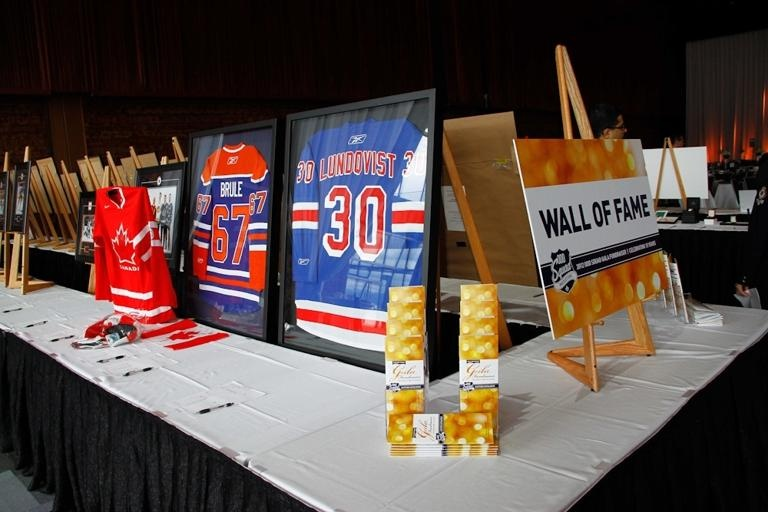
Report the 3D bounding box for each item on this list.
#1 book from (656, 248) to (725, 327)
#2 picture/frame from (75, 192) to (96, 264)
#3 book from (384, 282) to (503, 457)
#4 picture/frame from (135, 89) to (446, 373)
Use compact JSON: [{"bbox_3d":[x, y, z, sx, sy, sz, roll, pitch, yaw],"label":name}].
[{"bbox_3d":[1.867,0.165,2.723,0.202,0.358,0.375,-14,16,0],"label":"book"},{"bbox_3d":[-1.752,-0.161,2.677,0.024,0.594,0.497,4,0,-40],"label":"picture/frame"},{"bbox_3d":[0.168,0.279,1.408,0.391,0.546,0.383,-1,5,8],"label":"book"},{"bbox_3d":[-0.121,-0.101,1.690,0.721,0.937,0.278,5,17,28],"label":"picture/frame"}]
